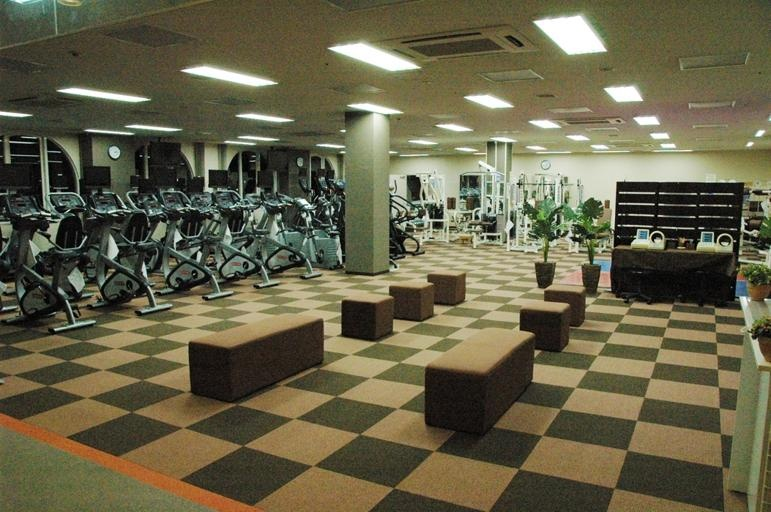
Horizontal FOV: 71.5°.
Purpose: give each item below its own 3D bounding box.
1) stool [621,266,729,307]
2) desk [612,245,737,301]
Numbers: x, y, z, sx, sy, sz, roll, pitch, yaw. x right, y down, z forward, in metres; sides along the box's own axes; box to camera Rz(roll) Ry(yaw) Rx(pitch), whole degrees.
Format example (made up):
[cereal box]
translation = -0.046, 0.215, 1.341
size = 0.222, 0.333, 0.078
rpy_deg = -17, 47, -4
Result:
[stool]
translation = 5.006, 0.538, 9.348
size = 1.005, 0.297, 0.942
rpy_deg = 4, 12, 26
[desk]
translation = 4.893, 0.214, 9.195
size = 1.815, 0.742, 0.598
rpy_deg = 3, 19, 25
